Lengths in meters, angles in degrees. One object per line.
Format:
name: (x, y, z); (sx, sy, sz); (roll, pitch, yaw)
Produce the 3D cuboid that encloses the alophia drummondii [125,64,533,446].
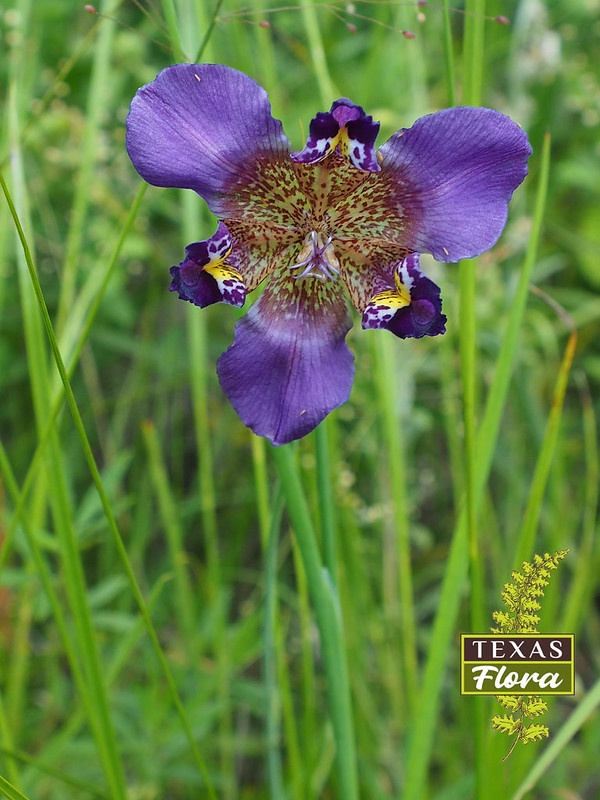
alophia drummondii: (0.017, -0.149, 0.673); (0.307, 0.265, 0.123); (27, 24, -5)
